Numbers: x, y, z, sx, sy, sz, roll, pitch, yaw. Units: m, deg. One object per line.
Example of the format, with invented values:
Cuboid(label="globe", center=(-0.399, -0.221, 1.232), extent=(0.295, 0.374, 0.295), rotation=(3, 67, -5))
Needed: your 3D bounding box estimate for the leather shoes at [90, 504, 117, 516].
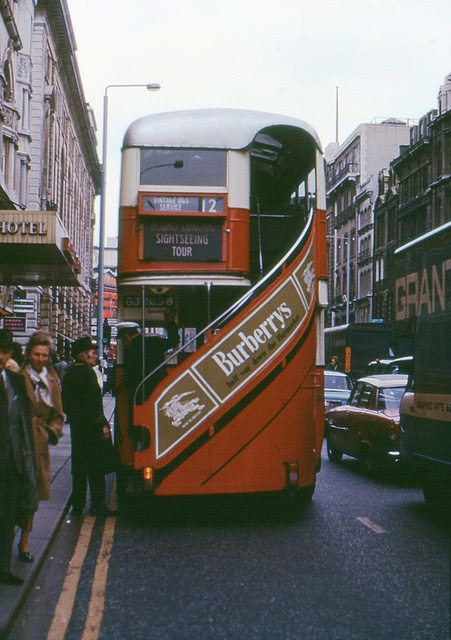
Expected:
Cuboid(label="leather shoes", center=(-1.220, 1.881, 8.222), extent=(0.284, 0.154, 0.108), rotation=(0, 0, -9))

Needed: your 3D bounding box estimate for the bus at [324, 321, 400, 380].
Cuboid(label="bus", center=(4.901, 1.264, 30.125), extent=(1.648, 2.483, 4.831), rotation=(0, -4, -3))

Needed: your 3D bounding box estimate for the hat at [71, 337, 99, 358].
Cuboid(label="hat", center=(-1.464, 0.264, 8.491), extent=(0.223, 0.101, 0.192), rotation=(-20, 3, -37))

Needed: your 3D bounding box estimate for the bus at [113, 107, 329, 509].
Cuboid(label="bus", center=(-0.166, -0.050, 9.208), extent=(1.895, 4.344, 3.950), rotation=(0, -5, -3))

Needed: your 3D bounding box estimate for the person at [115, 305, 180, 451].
Cuboid(label="person", center=(-0.818, 0.638, 8.274), extent=(0.615, 1.793, 0.424), rotation=(6, 13, -11))

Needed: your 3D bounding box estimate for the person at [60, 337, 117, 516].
Cuboid(label="person", center=(-1.415, 1.071, 8.394), extent=(0.545, 1.791, 0.512), rotation=(1, -3, -8))

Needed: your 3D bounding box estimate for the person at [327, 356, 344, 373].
Cuboid(label="person", center=(3.926, 1.570, 29.151), extent=(0.560, 0.923, 0.868), rotation=(1, -15, 4))

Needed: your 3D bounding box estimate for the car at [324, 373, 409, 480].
Cuboid(label="car", center=(2.020, 1.397, 11.428), extent=(0.666, 0.864, 1.783), rotation=(1, 0, -8))
